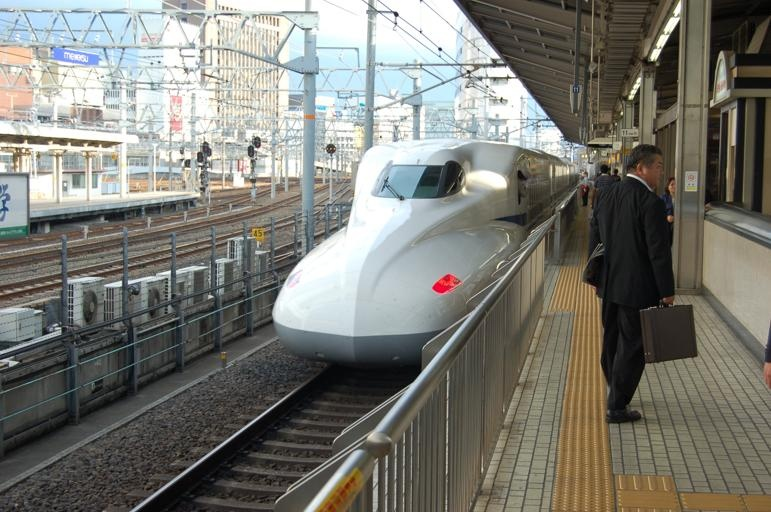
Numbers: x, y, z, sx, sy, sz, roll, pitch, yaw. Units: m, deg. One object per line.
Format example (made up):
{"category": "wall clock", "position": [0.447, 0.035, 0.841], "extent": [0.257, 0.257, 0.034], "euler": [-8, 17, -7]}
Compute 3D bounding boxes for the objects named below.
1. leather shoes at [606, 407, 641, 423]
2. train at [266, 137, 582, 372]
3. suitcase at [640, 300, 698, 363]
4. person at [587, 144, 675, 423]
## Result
{"category": "leather shoes", "position": [2.116, 1.450, 5.279], "extent": [0.323, 0.161, 0.129], "euler": [-2, 5, -5]}
{"category": "train", "position": [0.438, -0.260, 9.795], "extent": [2.623, 3.269, 4.475], "euler": [3, 12, 38]}
{"category": "suitcase", "position": [2.322, 0.638, 4.842], "extent": [0.551, 0.608, 0.209], "euler": [-4, -2, -6]}
{"category": "person", "position": [2.171, 0.281, 5.154], "extent": [0.600, 2.451, 0.487], "euler": [-1, 9, 18]}
